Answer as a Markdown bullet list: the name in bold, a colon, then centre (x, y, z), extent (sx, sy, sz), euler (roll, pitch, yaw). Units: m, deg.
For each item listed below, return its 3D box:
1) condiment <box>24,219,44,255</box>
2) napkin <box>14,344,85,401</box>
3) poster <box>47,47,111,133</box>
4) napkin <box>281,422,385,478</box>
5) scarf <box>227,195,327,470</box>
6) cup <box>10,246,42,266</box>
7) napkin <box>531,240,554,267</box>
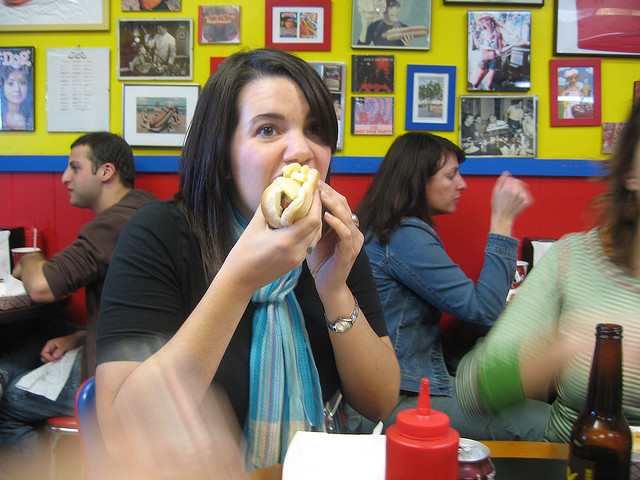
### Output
- **condiment**: centre (-1.803, -0.001, 3.463), extent (0.109, 0.216, 0.207), euler (-5, 11, -40)
- **napkin**: centre (-1.364, 0.693, 2.813), extent (0.159, 0.077, 0.256), euler (20, 43, -2)
- **poster**: centre (-1.508, -0.950, 3.449), extent (0.465, 0.709, 0.028), euler (2, 4, 3)
- **napkin**: centre (0.040, 0.599, 1.515), extent (0.277, 0.075, 0.115), euler (3, 9, 2)
- **scarf**: centre (-0.141, 0.421, 1.838), extent (0.295, 0.607, 0.234), euler (-2, 9, -28)
- **cup**: centre (-1.706, 0.076, 3.185), extent (0.151, 0.130, 0.147), euler (2, 5, 0)
- **napkin**: centre (1.278, 0.084, 3.177), extent (0.108, 0.126, 0.128), euler (6, 9, 26)
